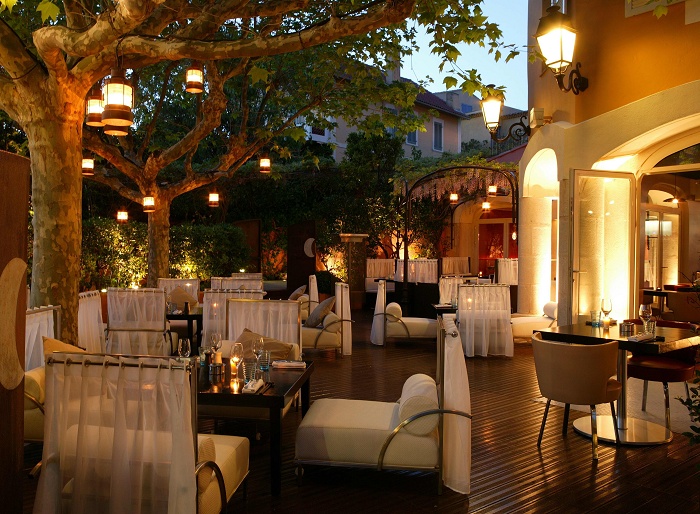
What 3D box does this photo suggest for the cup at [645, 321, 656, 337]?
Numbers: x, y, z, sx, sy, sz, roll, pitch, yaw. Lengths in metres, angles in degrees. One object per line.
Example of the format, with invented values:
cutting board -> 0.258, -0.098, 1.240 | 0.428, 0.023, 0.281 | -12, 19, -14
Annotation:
cup -> 3.233, 0.779, 6.758 | 0.107, 0.201, 0.117 | 1, -6, 0

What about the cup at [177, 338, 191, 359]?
cup -> -1.470, 0.820, 5.573 | 0.081, 0.165, 0.317 | -2, 9, -20
